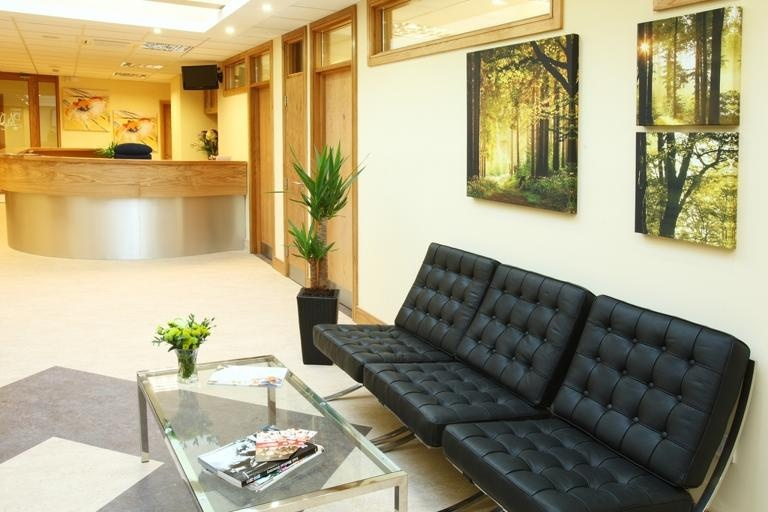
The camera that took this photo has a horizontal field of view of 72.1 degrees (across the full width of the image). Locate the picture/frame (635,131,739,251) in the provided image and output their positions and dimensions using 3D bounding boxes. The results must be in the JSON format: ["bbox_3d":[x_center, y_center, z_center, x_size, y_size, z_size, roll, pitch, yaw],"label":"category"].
[{"bbox_3d":[1.557,-0.384,2.725,0.117,0.583,0.565,-3,12,-25],"label":"picture/frame"}]

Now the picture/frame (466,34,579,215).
[{"bbox_3d":[0.945,-0.936,3.611,0.108,1.162,1.055,-4,13,-30],"label":"picture/frame"}]

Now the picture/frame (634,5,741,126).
[{"bbox_3d":[1.545,-0.980,2.676,0.103,0.571,0.558,-4,12,-27],"label":"picture/frame"}]

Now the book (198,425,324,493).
[{"bbox_3d":[-0.593,0.925,2.477,0.437,0.117,0.423,8,11,33],"label":"book"}]

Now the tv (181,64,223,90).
[{"bbox_3d":[-3.340,-3.457,9.708,0.885,0.435,0.163,-1,8,-8],"label":"tv"}]

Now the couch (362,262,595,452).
[{"bbox_3d":[0.711,0.601,3.404,1.585,0.820,1.303,-3,7,-21],"label":"couch"}]
